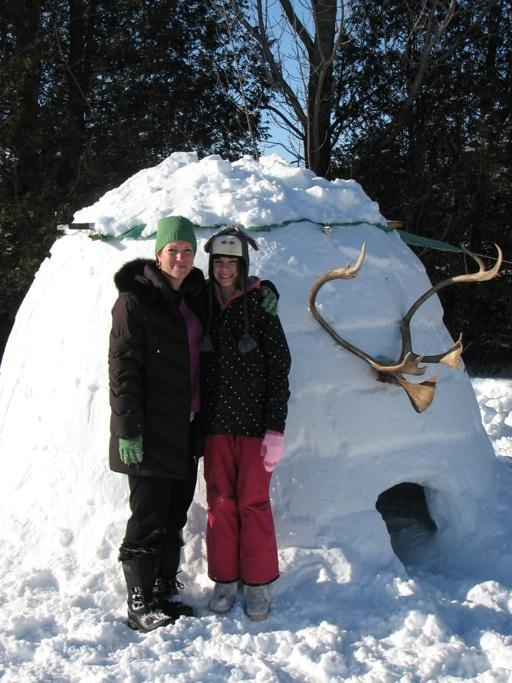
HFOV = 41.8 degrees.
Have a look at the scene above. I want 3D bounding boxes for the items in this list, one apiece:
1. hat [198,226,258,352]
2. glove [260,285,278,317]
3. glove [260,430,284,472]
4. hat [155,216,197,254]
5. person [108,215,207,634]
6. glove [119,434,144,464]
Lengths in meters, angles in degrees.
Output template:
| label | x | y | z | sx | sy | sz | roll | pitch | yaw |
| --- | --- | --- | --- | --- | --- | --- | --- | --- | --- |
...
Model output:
| label | x | y | z | sx | sy | sz | roll | pitch | yaw |
| --- | --- | --- | --- | --- | --- | --- | --- | --- | --- |
| hat | -0.121 | -0.250 | 3.127 | 0.239 | 0.558 | 0.372 | 0 | 14 | 0 |
| glove | 0.069 | -0.191 | 3.086 | 0.095 | 0.120 | 0.034 | -3 | -15 | -30 |
| glove | 0.072 | 0.490 | 3.015 | 0.120 | 0.166 | 0.065 | 2 | 12 | 9 |
| hat | -0.366 | -0.487 | 3.083 | 0.175 | 0.149 | 0.178 | 2 | -2 | -31 |
| person | -0.434 | 0.350 | 2.984 | 0.430 | 1.777 | 0.638 | 0 | 14 | -1 |
| glove | -0.534 | 0.464 | 2.862 | 0.103 | 0.113 | 0.041 | 4 | 14 | 17 |
